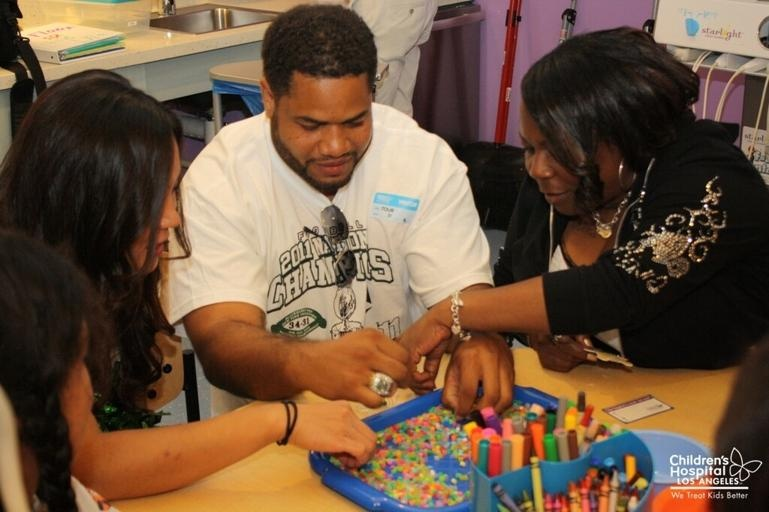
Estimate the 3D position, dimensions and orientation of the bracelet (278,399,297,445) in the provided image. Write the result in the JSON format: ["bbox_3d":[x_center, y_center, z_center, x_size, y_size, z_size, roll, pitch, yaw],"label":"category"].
[{"bbox_3d":[-0.221,0.381,1.378,0.019,0.081,0.077,7,1,-12],"label":"bracelet"}]

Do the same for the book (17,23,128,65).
[{"bbox_3d":[-1.662,-1.124,3.108,0.445,0.205,0.469,6,20,21],"label":"book"}]

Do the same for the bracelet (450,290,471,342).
[{"bbox_3d":[0.214,0.168,1.694,0.029,0.119,0.089,-5,32,7],"label":"bracelet"}]

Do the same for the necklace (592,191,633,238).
[{"bbox_3d":[0.717,-0.123,1.870,0.079,0.137,0.073,34,20,31],"label":"necklace"}]
